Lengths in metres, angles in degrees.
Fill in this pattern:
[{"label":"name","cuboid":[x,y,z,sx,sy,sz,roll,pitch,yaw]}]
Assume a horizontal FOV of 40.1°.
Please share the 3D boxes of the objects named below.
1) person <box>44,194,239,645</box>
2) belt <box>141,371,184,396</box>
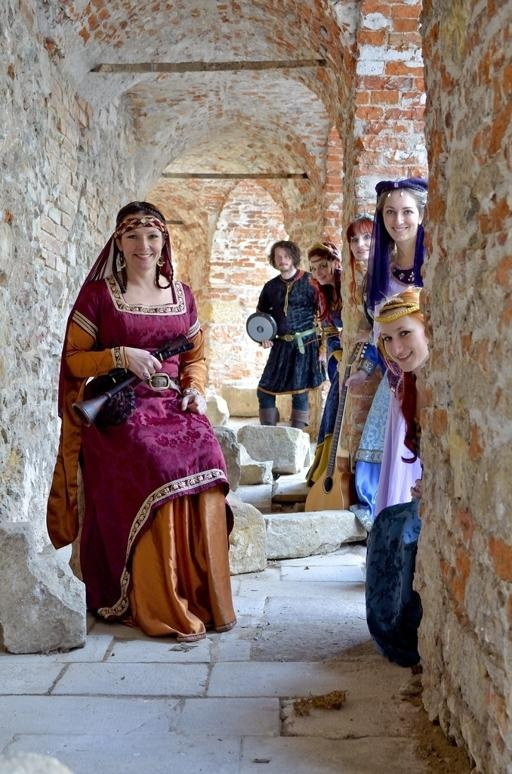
[{"label":"person","cuboid":[-0.351,0.071,2.733,0.882,1.603,0.546,8,7,39]},{"label":"belt","cuboid":[-0.383,-0.008,2.828,0.110,0.053,0.111,3,-6,-21]}]
